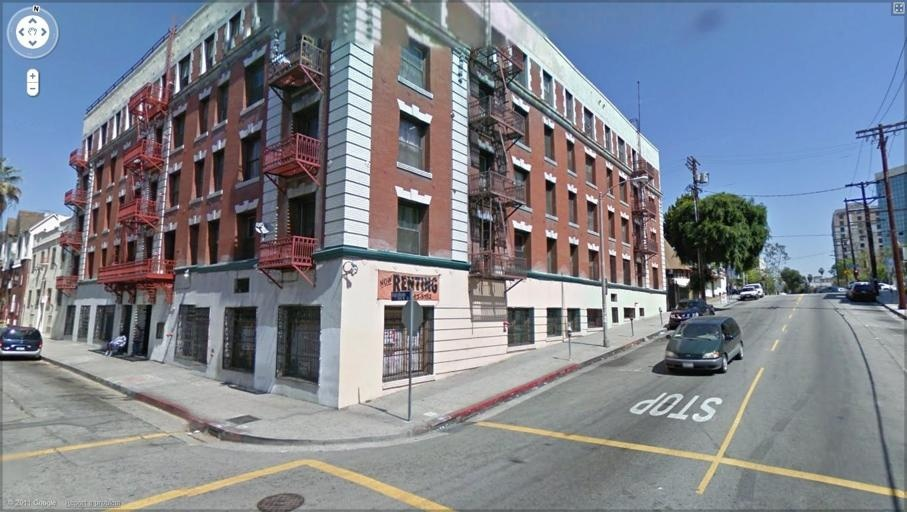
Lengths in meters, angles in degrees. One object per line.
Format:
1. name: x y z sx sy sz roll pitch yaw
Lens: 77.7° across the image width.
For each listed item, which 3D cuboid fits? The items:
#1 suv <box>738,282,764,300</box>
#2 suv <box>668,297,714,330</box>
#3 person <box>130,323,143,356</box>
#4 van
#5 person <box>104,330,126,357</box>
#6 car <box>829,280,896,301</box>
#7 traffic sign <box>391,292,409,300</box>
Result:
1. suv: 34.148 4.209 64.914 1.718 1.428 3.963 -8 -12 40
2. suv: 17.628 4.199 42.639 2.472 1.924 5.776 -10 -13 40
3. person: -22.941 5.948 40.759 1.003 2.283 0.310 -3 -9 16
4. van: 13.761 5.024 31.599 4.025 2.969 1.923 -1 -9 2
5. person: -24.166 6.398 40.383 1.242 1.376 1.062 -7 -11 33
6. car: 37.642 3.349 52.043 1.841 1.977 3.431 0 -10 -8
7. traffic sign: -3.015 2.193 31.122 0.957 0.500 0.422 -1 -9 1
